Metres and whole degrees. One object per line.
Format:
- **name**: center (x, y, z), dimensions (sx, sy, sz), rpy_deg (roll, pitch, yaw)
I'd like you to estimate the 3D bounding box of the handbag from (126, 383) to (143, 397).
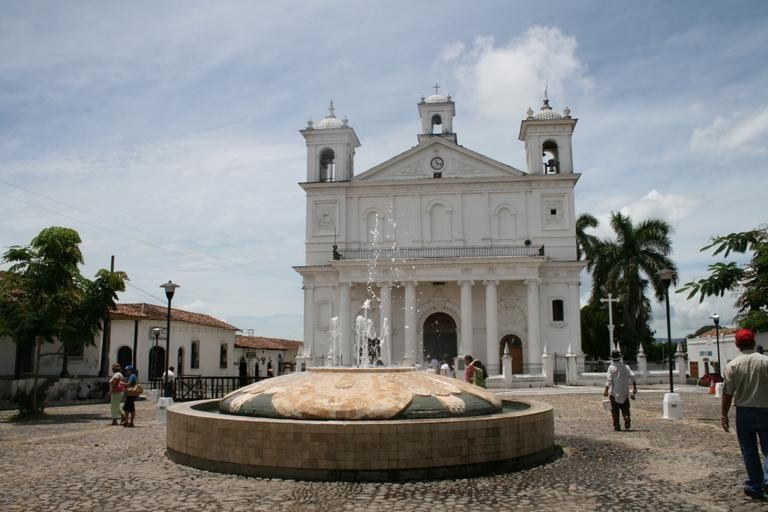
- **handbag**: center (-7.405, 3.987, 19.842), dimensions (0.340, 0.243, 0.455), rpy_deg (1, 0, -3)
